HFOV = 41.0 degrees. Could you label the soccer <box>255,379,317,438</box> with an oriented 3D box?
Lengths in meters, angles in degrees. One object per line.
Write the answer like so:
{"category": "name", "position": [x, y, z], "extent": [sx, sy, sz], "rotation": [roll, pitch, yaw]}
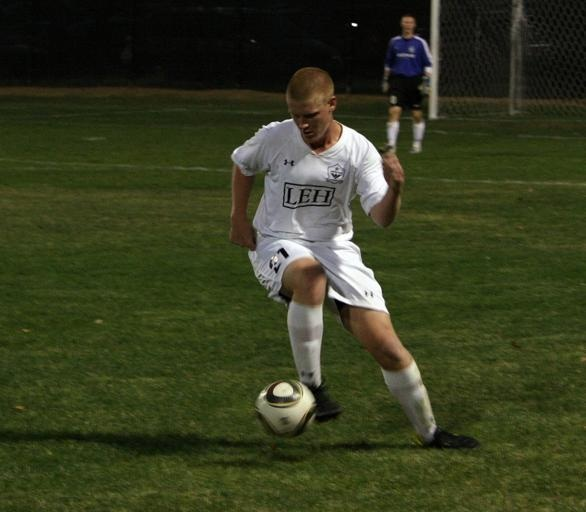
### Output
{"category": "soccer", "position": [-0.030, 0.659, 3.438], "extent": [0.332, 0.161, 0.270], "rotation": [-2, 2, -3]}

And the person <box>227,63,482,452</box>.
{"category": "person", "position": [0.187, -0.025, 3.601], "extent": [0.562, 1.660, 1.075], "rotation": [-8, 17, -30]}

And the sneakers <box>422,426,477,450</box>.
{"category": "sneakers", "position": [0.701, 0.821, 3.512], "extent": [0.302, 0.079, 0.082], "rotation": [-4, 0, 5]}

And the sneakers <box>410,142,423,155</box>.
{"category": "sneakers", "position": [1.540, -1.347, 9.824], "extent": [0.148, 0.141, 0.182], "rotation": [1, 4, 5]}
